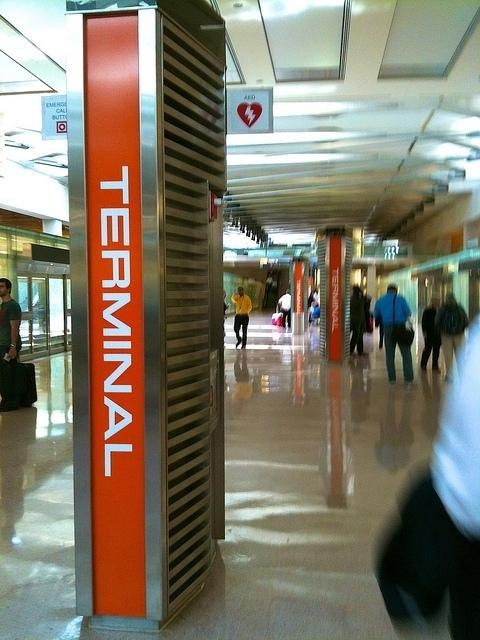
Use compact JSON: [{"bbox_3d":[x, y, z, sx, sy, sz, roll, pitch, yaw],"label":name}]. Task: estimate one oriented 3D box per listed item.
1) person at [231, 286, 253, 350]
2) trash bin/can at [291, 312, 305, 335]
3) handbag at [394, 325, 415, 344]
[{"bbox_3d":[0.083,-0.055,14.338,0.526,1.680,1.815,-3,1,-1],"label":"person"},{"bbox_3d":[2.401,0.151,19.440,0.579,1.482,0.702,0,4,6],"label":"trash bin/can"},{"bbox_3d":[2.934,0.267,8.460,0.286,0.355,0.281,0,-1,7],"label":"handbag"}]
